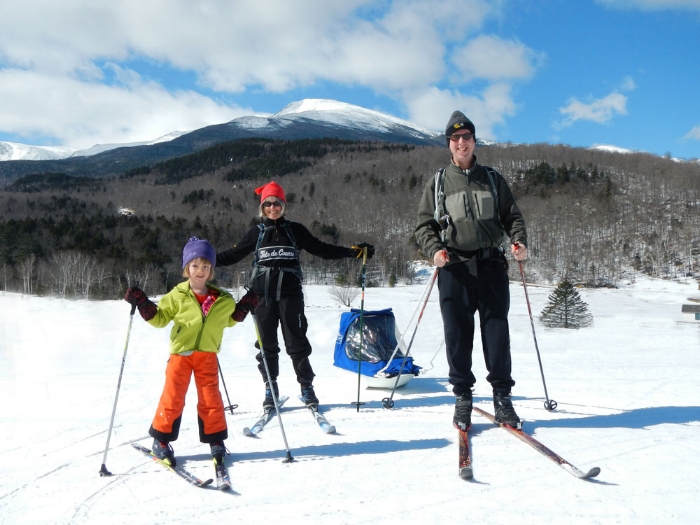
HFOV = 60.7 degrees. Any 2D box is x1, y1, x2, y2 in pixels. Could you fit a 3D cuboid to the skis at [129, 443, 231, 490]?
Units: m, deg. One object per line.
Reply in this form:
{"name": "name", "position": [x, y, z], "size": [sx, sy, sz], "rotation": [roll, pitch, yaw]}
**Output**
{"name": "skis", "position": [-1.835, 2.219, 6.497], "size": [1.625, 0.137, 0.173], "rotation": [11, 13, 44]}

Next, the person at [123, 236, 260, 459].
{"name": "person", "position": [-1.765, 0.953, 6.736], "size": [1.258, 2.489, 0.619], "rotation": [-1, -1, -11]}

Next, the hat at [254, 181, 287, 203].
{"name": "hat", "position": [-1.064, -0.955, 7.978], "size": [0.351, 0.246, 0.262], "rotation": [-18, -17, 22]}

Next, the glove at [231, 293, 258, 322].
{"name": "glove", "position": [-1.218, 0.520, 7.069], "size": [0.376, 0.235, 0.135], "rotation": [-44, -34, 6]}

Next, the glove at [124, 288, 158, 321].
{"name": "glove", "position": [-2.307, 0.449, 6.627], "size": [0.250, 0.412, 0.161], "rotation": [-42, 1, 20]}

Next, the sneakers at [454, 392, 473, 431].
{"name": "sneakers", "position": [1.324, 1.751, 7.022], "size": [0.148, 0.458, 0.194], "rotation": [3, -28, 3]}

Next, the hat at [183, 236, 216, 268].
{"name": "hat", "position": [-1.716, -0.146, 6.942], "size": [0.295, 0.329, 0.390], "rotation": [18, -25, -27]}
